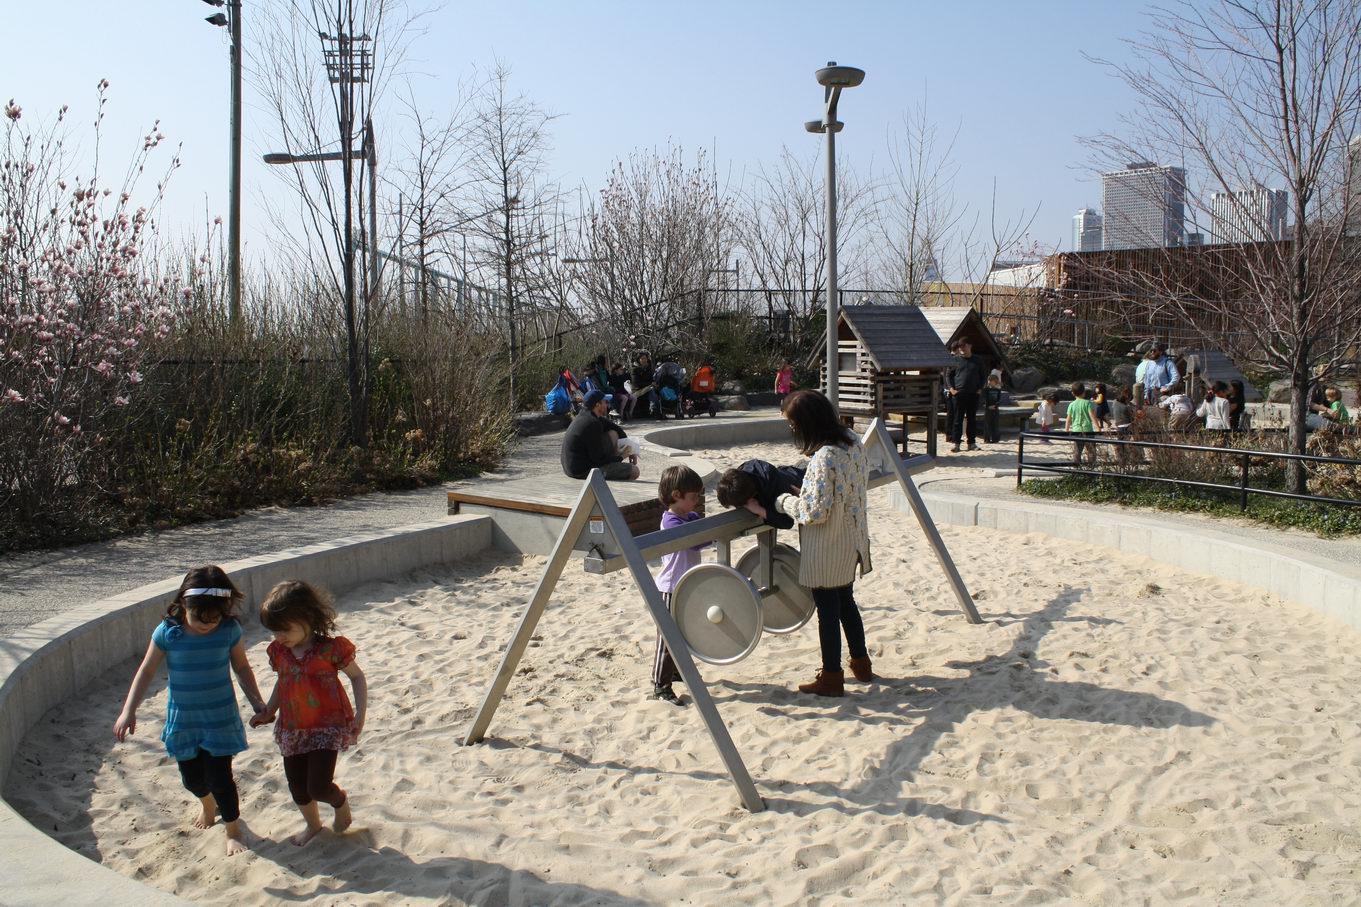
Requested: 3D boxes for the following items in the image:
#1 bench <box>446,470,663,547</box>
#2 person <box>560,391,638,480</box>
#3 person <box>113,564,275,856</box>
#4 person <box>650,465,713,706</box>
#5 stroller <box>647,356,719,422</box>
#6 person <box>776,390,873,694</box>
[{"bbox_3d":[-1.479,0.640,13.172,2.128,0.642,3.048,-3,5,-11],"label":"bench"},{"bbox_3d":[-1.031,-0.267,13.397,0.803,1.226,0.913,14,17,43],"label":"person"},{"bbox_3d":[-2.861,1.502,7.156,0.780,1.674,0.384,-2,4,-1],"label":"person"},{"bbox_3d":[0.049,0.935,8.883,0.465,1.707,0.427,-3,-5,33],"label":"person"},{"bbox_3d":[0.226,-1.296,24.935,0.808,1.006,1.497,0,2,26],"label":"stroller"},{"bbox_3d":[1.060,0.645,8.697,0.616,2.229,0.689,8,16,42],"label":"person"}]
